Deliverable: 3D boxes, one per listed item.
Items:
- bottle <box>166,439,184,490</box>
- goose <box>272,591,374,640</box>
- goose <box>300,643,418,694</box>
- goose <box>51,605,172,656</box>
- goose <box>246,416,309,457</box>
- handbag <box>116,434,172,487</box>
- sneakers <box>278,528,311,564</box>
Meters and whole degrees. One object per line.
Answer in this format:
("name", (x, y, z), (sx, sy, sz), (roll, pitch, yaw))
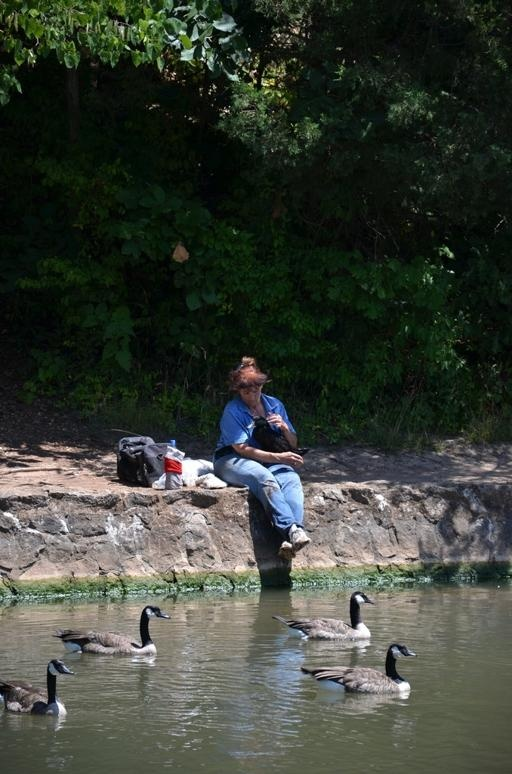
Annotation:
("bottle", (-0.768, 0.727, 10.330), (0.175, 0.445, 0.339), (1, 1, -5))
("goose", (0.463, 1.706, 8.211), (0.806, 0.499, 0.285), (4, -2, -5))
("goose", (0.640, 1.733, 6.861), (0.727, 0.422, 0.264), (4, -7, -2))
("goose", (-0.994, 1.697, 7.752), (0.931, 0.508, 0.300), (2, 1, 0))
("goose", (0.204, 0.443, 9.983), (0.455, 0.332, 0.285), (1, 1, -3))
("handbag", (-1.089, 0.743, 10.692), (0.372, 0.166, 0.569), (-6, 10, -35))
("sneakers", (0.290, 1.372, 9.521), (0.152, 0.175, 0.393), (2, -39, -34))
